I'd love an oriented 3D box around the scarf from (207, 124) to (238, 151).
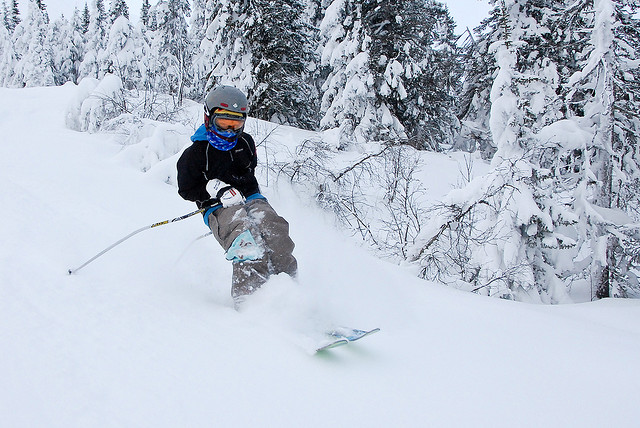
[{"bbox_3d":[-1.540,-1.192,8.923,0.321,0.367,0.415,10,-1,-40],"label":"scarf"}]
